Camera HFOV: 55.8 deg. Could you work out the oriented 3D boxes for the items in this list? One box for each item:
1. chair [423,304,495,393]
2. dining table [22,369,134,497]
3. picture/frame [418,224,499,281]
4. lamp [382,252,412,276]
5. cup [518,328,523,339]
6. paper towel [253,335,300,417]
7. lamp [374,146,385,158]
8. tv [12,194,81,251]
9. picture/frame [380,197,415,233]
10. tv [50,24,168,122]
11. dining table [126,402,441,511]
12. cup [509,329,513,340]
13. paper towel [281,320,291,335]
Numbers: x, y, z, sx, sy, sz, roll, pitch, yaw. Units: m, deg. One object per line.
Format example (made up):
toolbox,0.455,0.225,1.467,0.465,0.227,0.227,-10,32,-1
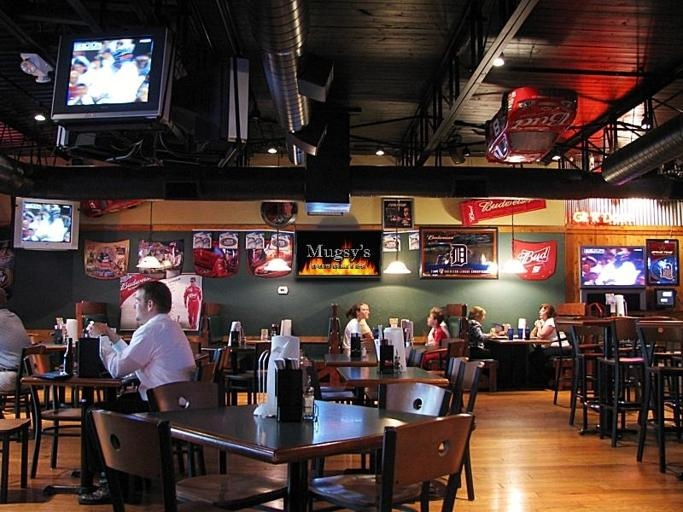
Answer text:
chair,2.312,1.592,11.600,1.612,1.916,1.547,0,-1,-2
dining table,-2.714,1.763,6.555,1.235,1.127,1.181,0,-6,3
picture/frame,2.392,-0.067,13.262,1.600,1.068,0.056,-2,-5,25
lamp,1.081,0.139,12.472,0.459,0.439,0.459,1,-13,-1
cup,3.437,1.470,12.299,0.098,0.188,0.155,0,-1,15
paper towel,-0.396,0.872,4.786,0.512,0.604,0.567,1,-6,-1
lamp,0.726,-2.021,12.487,0.202,0.142,0.207,-4,-4,18
tv,-5.629,-0.659,12.331,1.076,0.891,0.522,1,-6,-21
picture/frame,1.146,-0.851,12.992,0.728,0.648,0.228,3,-6,-7
tv,-2.178,-1.726,6.161,1.437,1.021,0.445,-1,-11,7
dining table,-0.436,1.187,4.364,1.192,0.666,1.152,4,-7,-41
cup,3.148,1.447,11.932,0.091,0.186,0.298,0,-1,12
paper towel,-0.713,0.929,8.471,0.114,0.173,0.362,1,-1,-11
